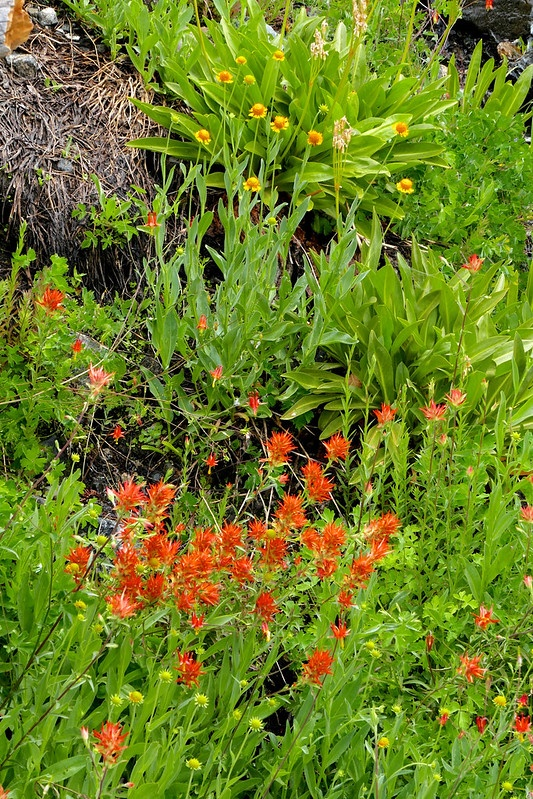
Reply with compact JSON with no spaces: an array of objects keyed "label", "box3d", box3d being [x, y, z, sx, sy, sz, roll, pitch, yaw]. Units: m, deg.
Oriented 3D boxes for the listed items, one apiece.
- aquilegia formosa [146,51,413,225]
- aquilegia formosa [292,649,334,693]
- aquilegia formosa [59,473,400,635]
[{"label":"aquilegia formosa","box3d":[0.007,-0.815,2.747,0.824,0.324,0.753,-6,59,-34]},{"label":"aquilegia formosa","box3d":[0.073,0.393,1.107,0.047,0.122,0.051,0,63,-11]},{"label":"aquilegia formosa","box3d":[-0.044,0.255,1.149,0.522,0.310,0.146,0,102,-13]}]
